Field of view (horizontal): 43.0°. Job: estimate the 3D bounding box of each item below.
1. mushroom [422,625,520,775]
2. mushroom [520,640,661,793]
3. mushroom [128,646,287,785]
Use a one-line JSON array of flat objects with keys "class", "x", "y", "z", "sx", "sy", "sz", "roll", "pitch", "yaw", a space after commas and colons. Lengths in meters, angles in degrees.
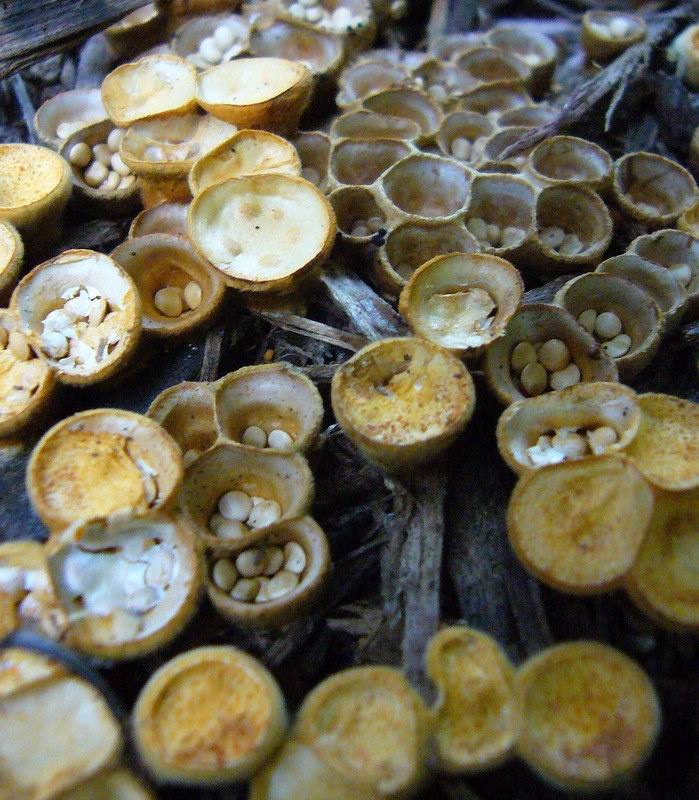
[{"class": "mushroom", "x": 0.302, "y": 0.719, "z": 2.135, "sx": 0.265, "sy": 0.082, "sz": 0.299, "roll": -9, "pitch": 73, "yaw": -3}, {"class": "mushroom", "x": 0.589, "y": 0.788, "z": 2.218, "sx": 0.339, "sy": 0.151, "sz": 0.327, "roll": 1, "pitch": 48, "yaw": -1}, {"class": "mushroom", "x": -0.341, "y": 0.769, "z": 2.153, "sx": 0.355, "sy": 0.135, "sz": 0.322, "roll": -13, "pitch": 50, "yaw": -14}]
